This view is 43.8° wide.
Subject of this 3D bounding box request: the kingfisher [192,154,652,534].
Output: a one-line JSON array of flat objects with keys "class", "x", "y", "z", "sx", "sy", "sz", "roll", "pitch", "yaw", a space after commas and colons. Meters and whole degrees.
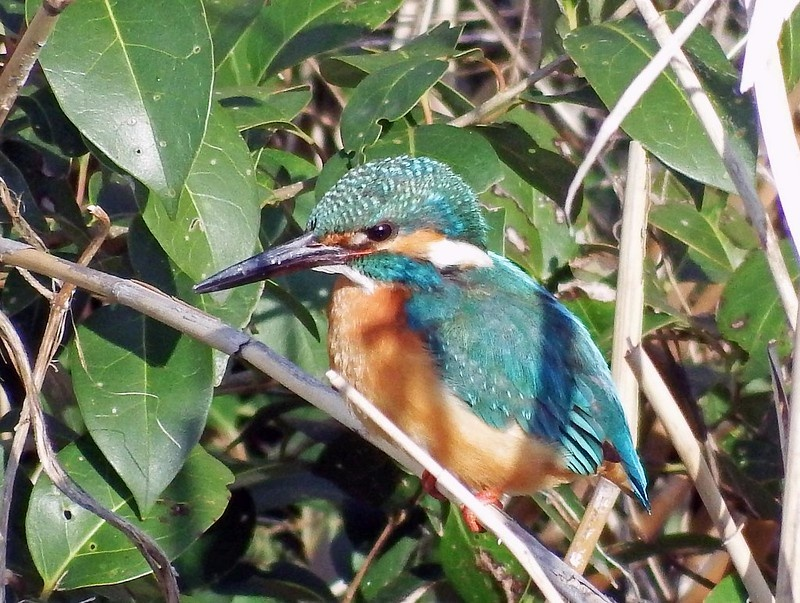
[{"class": "kingfisher", "x": 0.143, "y": 0.083, "z": 2.544, "sx": 1.100, "sy": 0.675, "sz": 0.541, "roll": 17, "pitch": 41, "yaw": 13}]
